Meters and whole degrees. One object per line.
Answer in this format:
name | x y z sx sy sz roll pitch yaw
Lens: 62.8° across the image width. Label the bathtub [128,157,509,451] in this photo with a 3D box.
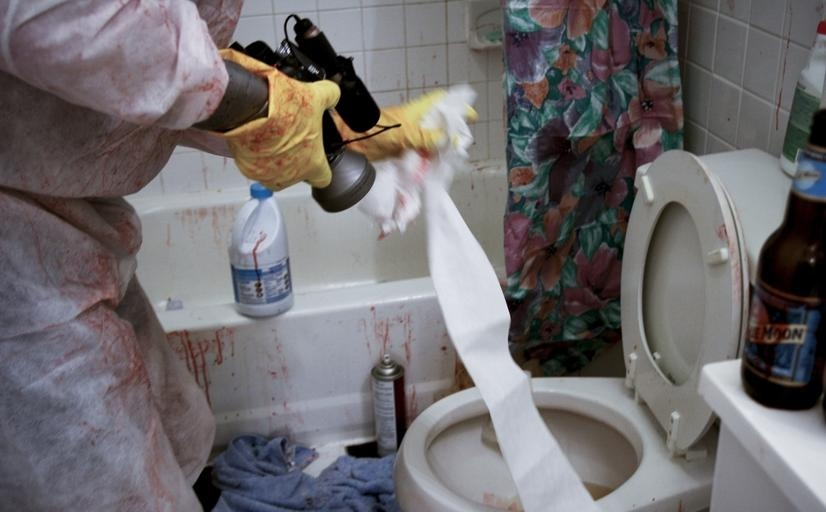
bathtub | -0.293 0.158 2.472 1.231 1.021 0.580 0 26 13
